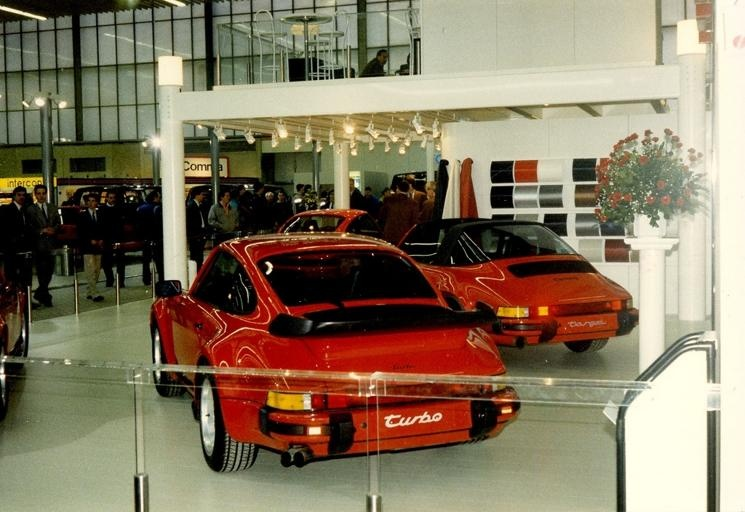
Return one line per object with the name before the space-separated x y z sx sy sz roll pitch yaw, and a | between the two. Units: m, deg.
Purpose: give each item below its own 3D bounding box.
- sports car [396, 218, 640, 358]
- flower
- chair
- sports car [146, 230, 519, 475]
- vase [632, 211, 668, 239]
sports car | 1.513 0.403 10.107 1.448 0.873 2.483 -3 11 -21
flower | 2.934 -0.831 8.882 1.092 0.975 1.123 12 24 40
chair | -0.781 -3.555 14.455 2.600 1.392 2.957 -7 6 -7
sports car | -0.517 0.702 6.778 1.512 0.984 2.955 -2 7 -20
vase | 2.846 -0.304 8.715 0.258 0.198 0.264 2 1 4
